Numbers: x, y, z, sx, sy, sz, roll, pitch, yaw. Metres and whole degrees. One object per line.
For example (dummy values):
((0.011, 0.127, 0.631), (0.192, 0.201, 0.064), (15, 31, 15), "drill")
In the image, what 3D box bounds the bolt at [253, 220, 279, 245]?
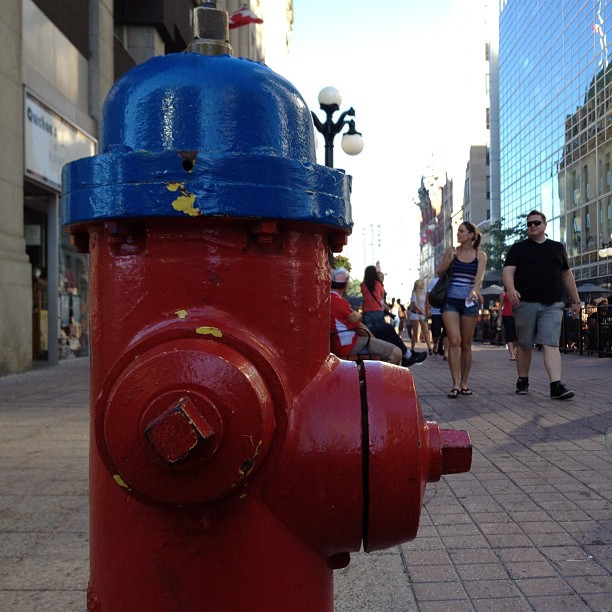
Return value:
((-0.084, -0.158, 1.477), (0.051, 0.047, 0.045), (0, 0, -3), "bolt")

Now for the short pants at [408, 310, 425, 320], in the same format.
((2.478, 0.205, 15.997), (0.237, 0.298, 0.246), (0, -2, 13), "short pants")

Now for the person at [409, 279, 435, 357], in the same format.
((2.644, 0.227, 16.060), (0.571, 1.818, 0.476), (-3, -4, 40), "person")

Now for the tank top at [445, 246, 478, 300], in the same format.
((1.628, -0.341, 7.367), (0.294, 0.791, 0.285), (5, -31, 5), "tank top")

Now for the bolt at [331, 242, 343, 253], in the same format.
((0.078, -0.147, 1.719), (0.017, 0.021, 0.020), (-1, -3, 12), "bolt")

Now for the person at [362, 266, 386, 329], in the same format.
((0.966, 0.057, 10.136), (0.293, 1.327, 0.423), (-2, -6, 0), "person")

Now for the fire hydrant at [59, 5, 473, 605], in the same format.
((-0.132, -0.059, 2.125), (0.907, 1.996, 1.058), (0, 1, 0), "fire hydrant")

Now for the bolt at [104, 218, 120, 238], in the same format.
((-0.402, -0.164, 1.460), (0.026, 0.063, 0.032), (-1, -2, 10), "bolt")

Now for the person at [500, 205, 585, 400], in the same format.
((2.339, -0.029, 7.006), (0.724, 1.907, 0.757), (0, 0, 18), "person")

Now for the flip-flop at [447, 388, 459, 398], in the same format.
((1.519, 0.895, 7.305), (0.147, 0.077, 0.058), (3, 1, 12), "flip-flop")

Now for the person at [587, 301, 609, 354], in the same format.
((6.054, 0.455, 14.531), (0.226, 0.984, 1.065), (0, 0, 12), "person")
